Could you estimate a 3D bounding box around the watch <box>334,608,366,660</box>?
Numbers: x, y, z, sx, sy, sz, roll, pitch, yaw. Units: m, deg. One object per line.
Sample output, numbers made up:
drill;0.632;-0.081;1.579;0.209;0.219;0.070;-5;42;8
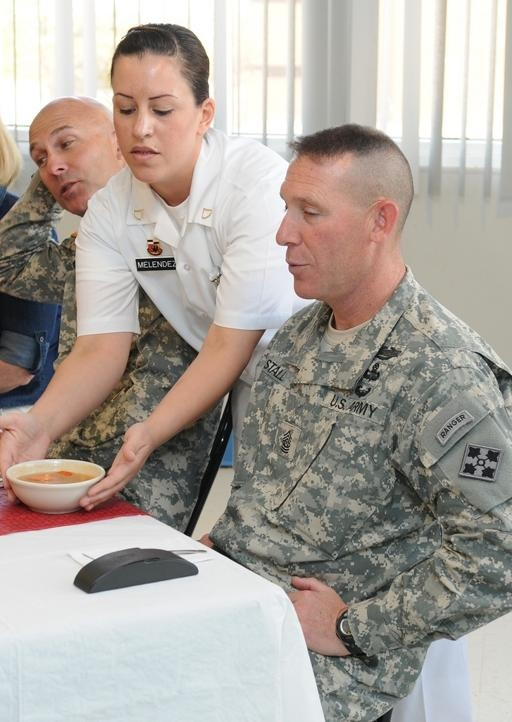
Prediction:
watch;0.116;0.338;0.845;0.036;0.046;0.017;8;3;40
